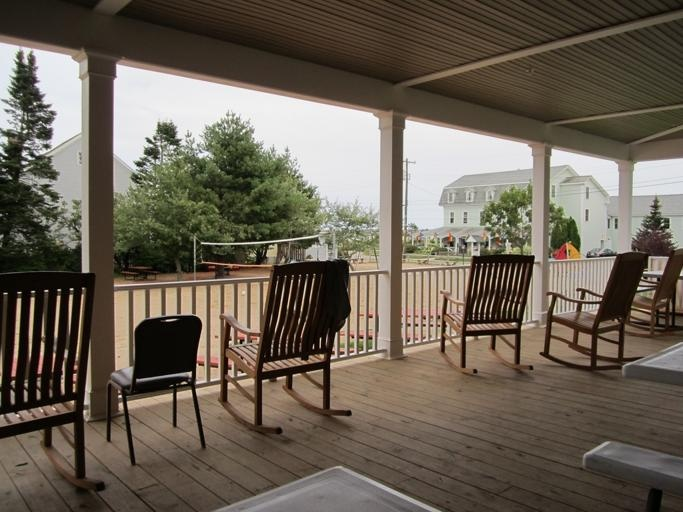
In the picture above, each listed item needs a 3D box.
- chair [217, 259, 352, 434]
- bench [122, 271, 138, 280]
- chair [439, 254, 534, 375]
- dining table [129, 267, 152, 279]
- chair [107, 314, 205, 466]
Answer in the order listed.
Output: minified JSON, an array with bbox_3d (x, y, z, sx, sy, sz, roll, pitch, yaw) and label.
[{"bbox_3d":[-0.441,0.682,4.206,0.949,1.341,0.784,-4,8,-32],"label":"chair"},{"bbox_3d":[-14.565,1.240,34.654,1.118,0.671,0.985,-2,7,-22],"label":"bench"},{"bbox_3d":[1.638,0.612,5.509,0.907,1.300,0.593,-1,7,-10],"label":"chair"},{"bbox_3d":[-14.244,1.121,35.262,0.951,0.490,1.045,-2,6,-25],"label":"dining table"},{"bbox_3d":[-1.299,0.902,3.512,0.639,1.041,0.452,-3,8,-25],"label":"chair"}]
